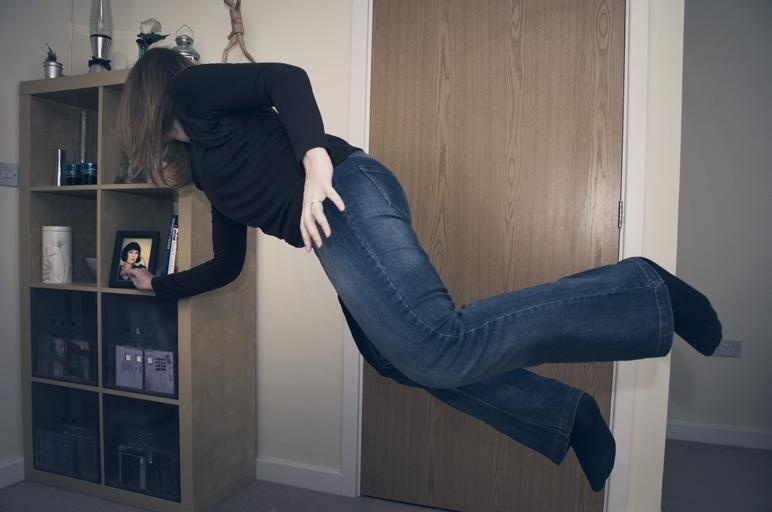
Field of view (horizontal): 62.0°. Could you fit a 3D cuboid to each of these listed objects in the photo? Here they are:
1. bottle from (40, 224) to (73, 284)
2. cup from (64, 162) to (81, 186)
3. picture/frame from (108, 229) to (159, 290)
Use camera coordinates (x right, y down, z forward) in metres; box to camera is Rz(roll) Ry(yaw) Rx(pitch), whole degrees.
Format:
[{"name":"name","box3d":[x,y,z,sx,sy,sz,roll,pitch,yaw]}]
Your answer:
[{"name":"bottle","box3d":[-1.940,-0.009,3.835,0.232,0.320,0.233,1,3,0]},{"name":"cup","box3d":[-1.827,-0.485,3.755,0.109,0.116,0.110,-1,-5,0]},{"name":"picture/frame","box3d":[-1.412,0.028,3.591,0.330,0.444,0.043,0,-14,4]}]
